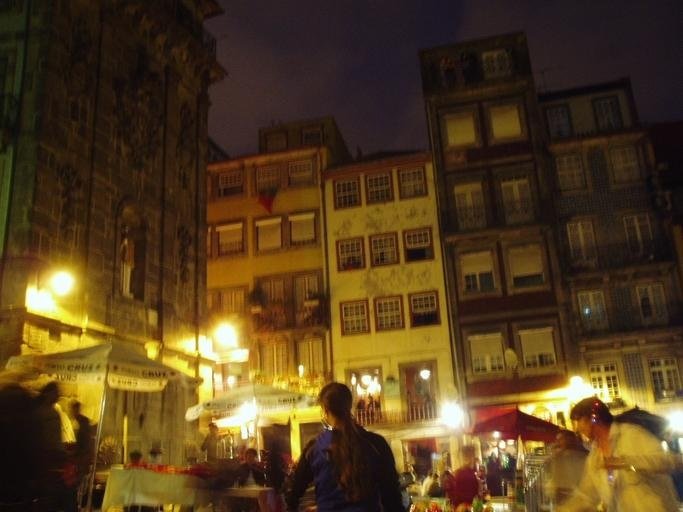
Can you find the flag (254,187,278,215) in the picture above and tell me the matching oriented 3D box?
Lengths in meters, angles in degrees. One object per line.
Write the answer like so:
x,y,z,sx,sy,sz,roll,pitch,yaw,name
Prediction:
-4.266,-3.080,34.265,1.308,1.449,0.194,-3,-12,-6,flag
